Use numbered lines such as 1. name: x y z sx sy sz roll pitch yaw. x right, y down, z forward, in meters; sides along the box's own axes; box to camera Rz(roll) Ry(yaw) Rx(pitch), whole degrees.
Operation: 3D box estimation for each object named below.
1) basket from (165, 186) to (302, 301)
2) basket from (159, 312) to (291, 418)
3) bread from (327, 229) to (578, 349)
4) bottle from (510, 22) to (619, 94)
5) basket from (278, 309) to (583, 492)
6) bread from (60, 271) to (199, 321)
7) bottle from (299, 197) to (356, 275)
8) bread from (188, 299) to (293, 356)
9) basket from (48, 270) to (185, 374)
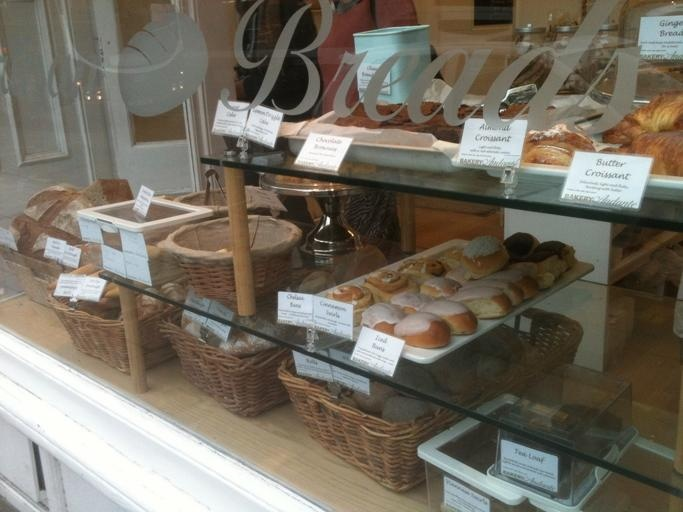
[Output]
1. basket: -0.277 -0.015 1.368 0.332 0.125 0.326 -20 34 -28
2. basket: -0.317 0.285 1.510 0.330 0.098 0.240 11 20 35
3. bread: 0.233 0.060 1.111 0.422 0.043 0.268 -17 24 -31
4. bottle: 0.319 -0.294 0.840 0.169 0.098 0.094 16 30 34
5. basket: 0.312 0.349 1.293 0.591 0.137 0.415 -10 -5 -31
6. bread: -0.620 0.107 1.619 0.299 0.069 0.221 14 18 36
7. bottle: -0.026 -0.043 1.289 0.200 0.148 0.160 -2 15 1
8. bread: -0.295 0.163 1.402 0.245 0.064 0.163 12 11 21
9. basket: -0.694 0.202 1.765 0.426 0.141 0.337 22 30 37
